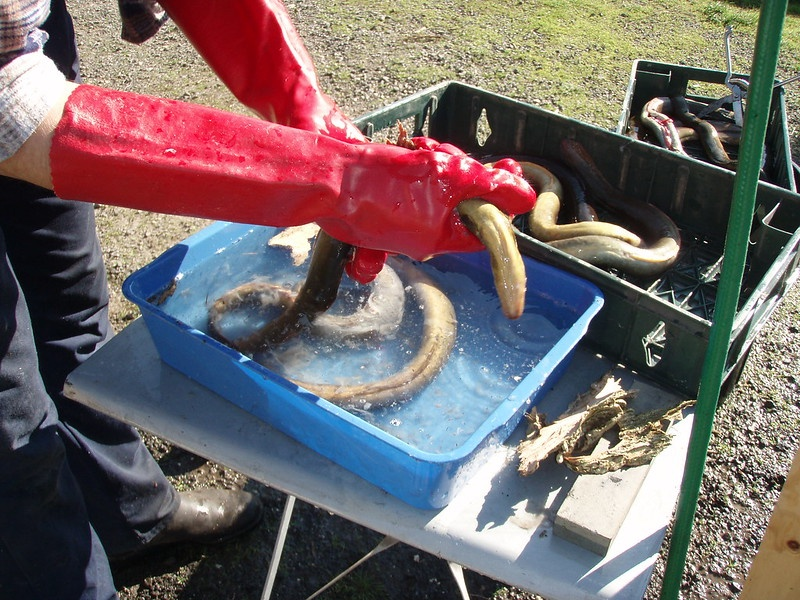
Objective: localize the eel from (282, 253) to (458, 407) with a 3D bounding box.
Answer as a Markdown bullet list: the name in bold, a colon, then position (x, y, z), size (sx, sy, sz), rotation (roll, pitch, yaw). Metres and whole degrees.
- **eel**: position (-0.072, 0.117, 2.283), size (0.565, 0.375, 0.518), rotation (22, 36, 33)
